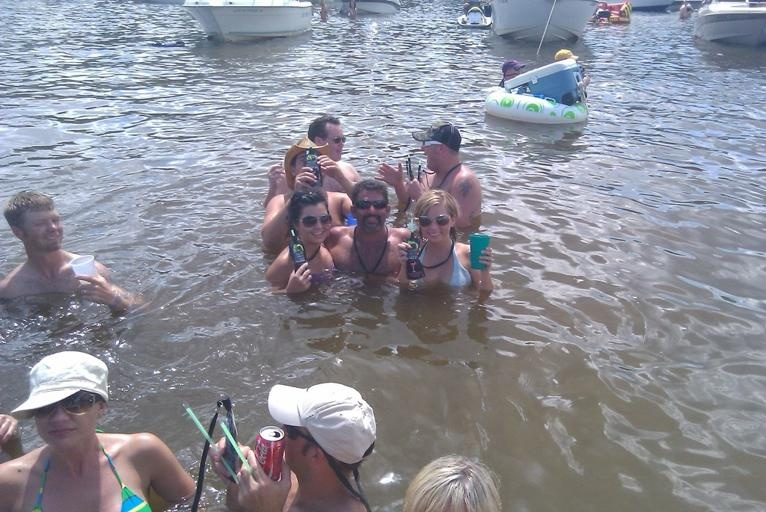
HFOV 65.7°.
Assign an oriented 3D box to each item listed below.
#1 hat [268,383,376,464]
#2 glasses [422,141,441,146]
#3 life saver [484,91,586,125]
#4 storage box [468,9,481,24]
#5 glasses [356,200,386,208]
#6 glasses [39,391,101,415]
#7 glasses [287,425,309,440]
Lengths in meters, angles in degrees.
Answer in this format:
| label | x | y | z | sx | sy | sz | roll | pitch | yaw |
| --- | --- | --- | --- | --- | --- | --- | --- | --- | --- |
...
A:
| label | x | y | z | sx | sy | sz | roll | pitch | yaw |
| --- | --- | --- | --- | --- | --- | --- | --- | --- | --- |
| hat | -0.538 | 1.506 | 5.598 | 1.123 | 0.440 | 0.626 | 23 | 34 | 2 |
| glasses | 0.910 | -2.087 | 11.055 | 0.276 | 0.090 | 0.144 | 3 | 6 | 5 |
| life saver | 4.948 | -4.545 | 17.808 | 3.197 | 0.679 | 2.660 | 11 | 31 | 11 |
| storage box | 5.543 | -14.511 | 36.062 | 0.873 | 0.807 | 1.223 | 3 | 33 | 5 |
| glasses | -0.194 | -0.810 | 9.405 | 0.487 | 0.137 | 0.092 | 1 | 36 | 2 |
| glasses | -3.007 | 1.432 | 5.654 | 0.557 | 0.199 | 0.111 | -13 | 38 | -20 |
| glasses | -0.812 | 1.666 | 5.605 | 0.193 | 0.064 | 0.129 | 6 | 2 | 8 |
